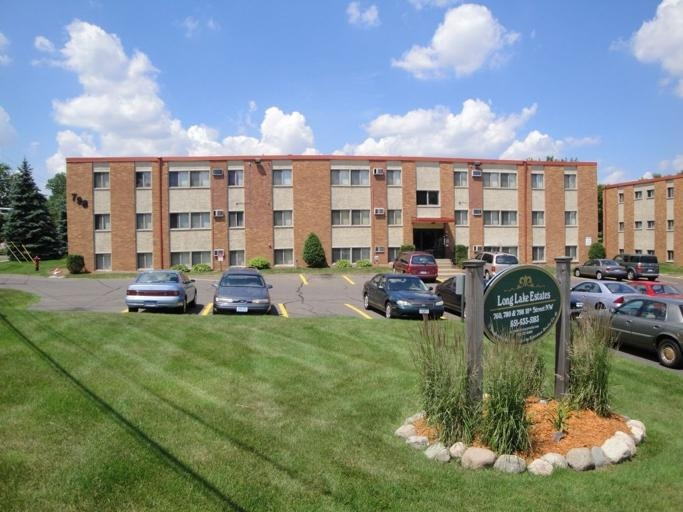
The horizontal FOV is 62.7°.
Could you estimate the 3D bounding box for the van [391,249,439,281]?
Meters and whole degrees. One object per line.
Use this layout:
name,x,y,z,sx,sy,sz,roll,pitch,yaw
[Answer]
van,3.840,0.447,29.746,1.186,0.973,2.300,1,7,-9

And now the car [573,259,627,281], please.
car,14.900,0.794,32.002,1.042,0.769,2.383,1,5,-8

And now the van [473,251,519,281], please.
van,5.452,0.295,19.772,1.122,0.985,2.432,-1,8,-7

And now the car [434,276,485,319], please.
car,3.547,1.341,18.274,1.297,1.141,3.055,-1,-1,-18

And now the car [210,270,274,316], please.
car,-3.230,1.232,18.194,1.298,1.008,2.907,0,-2,-6

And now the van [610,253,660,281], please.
van,16.680,0.607,31.669,1.159,1.419,2.071,-8,12,-36
